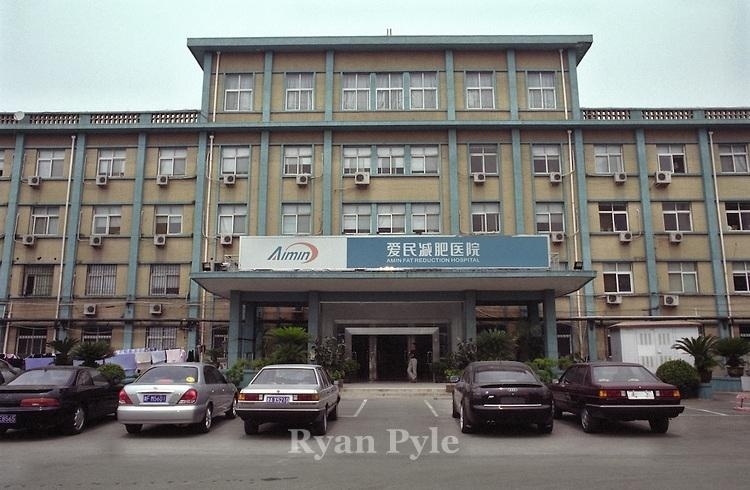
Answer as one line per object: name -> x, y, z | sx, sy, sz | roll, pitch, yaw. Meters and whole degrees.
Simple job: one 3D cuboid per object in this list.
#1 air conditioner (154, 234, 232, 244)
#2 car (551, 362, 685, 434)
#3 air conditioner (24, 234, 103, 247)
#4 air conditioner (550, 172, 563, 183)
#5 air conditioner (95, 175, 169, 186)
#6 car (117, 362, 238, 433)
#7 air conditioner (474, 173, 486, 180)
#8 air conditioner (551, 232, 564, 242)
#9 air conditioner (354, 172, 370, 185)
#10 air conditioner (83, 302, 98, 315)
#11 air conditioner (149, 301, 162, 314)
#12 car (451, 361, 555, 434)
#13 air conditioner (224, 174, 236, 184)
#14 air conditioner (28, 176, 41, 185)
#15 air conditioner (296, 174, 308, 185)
air conditioner -> -9.890, -0.277, 34.352 | 4.351, 0.630, 0.389 | 1, 4, 4
car -> 7.367, 4.696, 19.134 | 3.637, 2.106, 1.924 | 2, 4, 27
air conditioner -> -17.200, -0.248, 34.729 | 2.526, 0.416, 0.430 | 4, -7, -6
air conditioner -> 9.937, -3.694, 34.463 | 0.562, 0.400, 0.552 | 0, -11, 3
air conditioner -> -12.561, -3.692, 35.706 | 3.772, 0.571, 0.735 | -1, 13, -7
car -> -5.764, 4.652, 19.023 | 1.735, 2.028, 3.361 | 4, 5, 41
air conditioner -> 5.715, -3.708, 34.357 | 0.649, 0.322, 0.415 | 3, -9, 2
air conditioner -> 9.859, -0.398, 33.920 | 0.886, 0.551, 0.453 | 0, -3, 1
air conditioner -> -0.689, -3.532, 34.622 | 1.054, 0.675, 0.606 | 0, -12, -2
air conditioner -> -15.301, 3.474, 33.814 | 0.641, 0.564, 0.568 | 2, 4, -16
air conditioner -> -11.745, 3.421, 33.725 | 0.582, 0.521, 0.409 | 0, 0, 3
car -> 3.909, 4.713, 19.012 | 2.871, 2.064, 1.862 | 1, 4, 13
air conditioner -> -8.015, -3.599, 34.810 | 0.563, 0.398, 0.540 | 0, -11, -5
air conditioner -> -19.079, -3.545, 35.204 | 0.567, 0.507, 0.557 | 0, -5, -21
air conditioner -> -3.978, -3.602, 34.491 | 0.595, 0.417, 0.569 | 0, -11, -5
